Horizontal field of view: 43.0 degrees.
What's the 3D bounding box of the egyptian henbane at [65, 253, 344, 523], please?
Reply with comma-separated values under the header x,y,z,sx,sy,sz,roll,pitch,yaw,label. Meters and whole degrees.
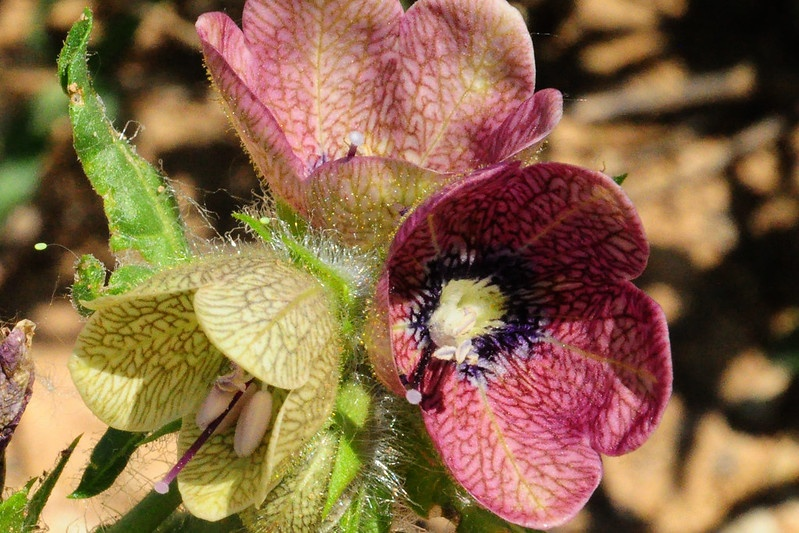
x,y,z,sx,sy,sz,roll,pitch,yaw,label
-0.580,0.306,3.317,0.784,0.455,0.792,40,70,15,egyptian henbane
